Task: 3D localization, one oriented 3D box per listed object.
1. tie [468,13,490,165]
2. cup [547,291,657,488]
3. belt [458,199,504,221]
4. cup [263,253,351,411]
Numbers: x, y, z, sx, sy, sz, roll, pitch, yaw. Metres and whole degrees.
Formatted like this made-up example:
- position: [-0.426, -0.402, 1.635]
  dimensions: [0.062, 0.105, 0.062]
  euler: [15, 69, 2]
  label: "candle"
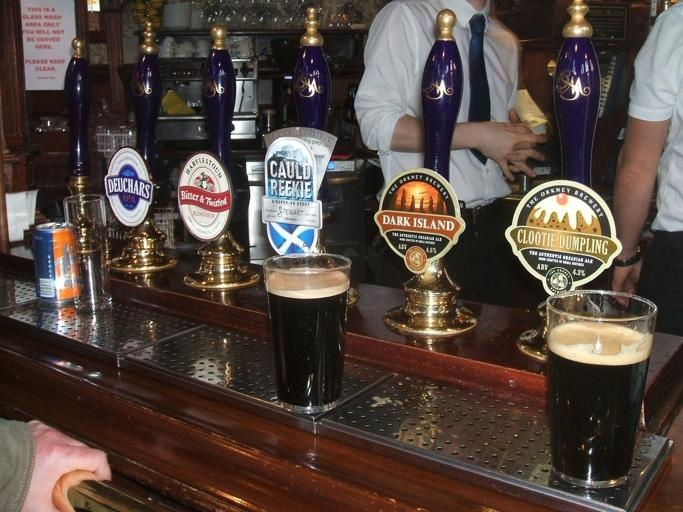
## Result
- position: [0.446, -0.597, 1.984]
  dimensions: [0.082, 0.325, 0.225]
  euler: [3, 18, 12]
  label: "tie"
- position: [0.356, 0.183, 0.886]
  dimensions: [0.139, 0.240, 0.154]
  euler: [7, 19, 23]
  label: "cup"
- position: [0.477, -0.145, 2.068]
  dimensions: [0.125, 0.034, 0.119]
  euler: [-7, 14, -10]
  label: "belt"
- position: [-0.055, 0.124, 1.057]
  dimensions: [0.141, 0.236, 0.156]
  euler: [-1, 18, 0]
  label: "cup"
